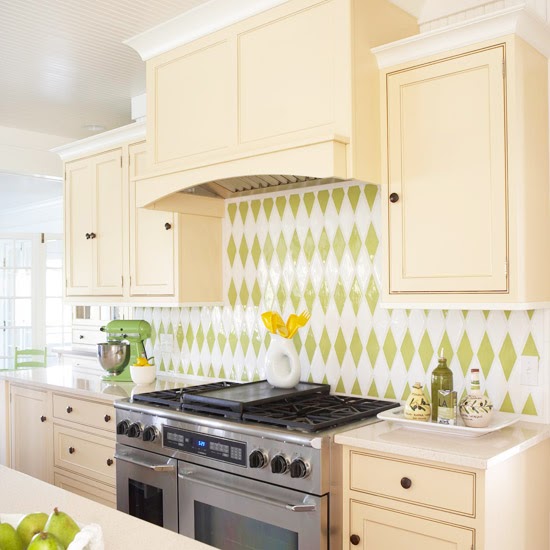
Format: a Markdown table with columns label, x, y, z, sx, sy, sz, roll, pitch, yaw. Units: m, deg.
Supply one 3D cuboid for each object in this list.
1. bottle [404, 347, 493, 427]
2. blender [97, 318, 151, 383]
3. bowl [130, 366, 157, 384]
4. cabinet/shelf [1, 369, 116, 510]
| label | x | y | z | sx | sy | sz | roll | pitch | yaw |
| --- | --- | --- | --- | --- | --- | --- | --- | --- | --- |
| bottle | 0.637 | 0.405 | 2.110 | 0.098 | 0.214 | 0.243 | 2 | -2 | -43 |
| blender | -0.966 | 0.410 | 3.488 | 0.391 | 0.474 | 0.217 | 1 | -2 | 20 |
| bowl | -0.719 | 0.535 | 3.150 | 0.099 | 0.089 | 0.110 | 1 | -10 | -6 |
| cabinet/shelf | -1.023 | 0.783 | 2.817 | 0.678 | 0.664 | 0.265 | -3 | -5 | 41 |
